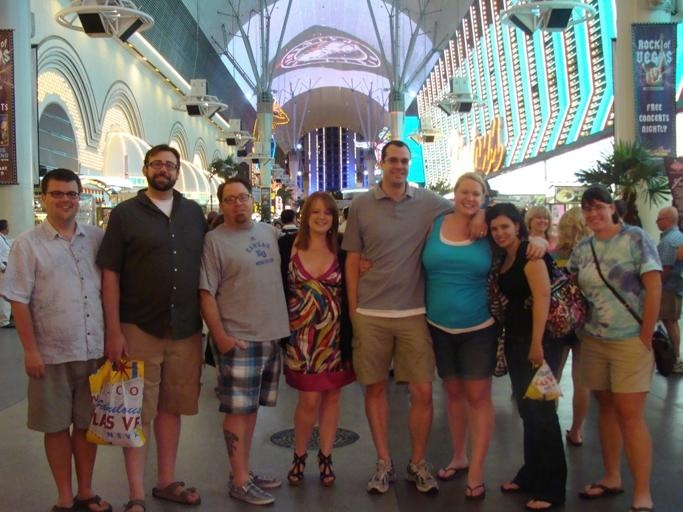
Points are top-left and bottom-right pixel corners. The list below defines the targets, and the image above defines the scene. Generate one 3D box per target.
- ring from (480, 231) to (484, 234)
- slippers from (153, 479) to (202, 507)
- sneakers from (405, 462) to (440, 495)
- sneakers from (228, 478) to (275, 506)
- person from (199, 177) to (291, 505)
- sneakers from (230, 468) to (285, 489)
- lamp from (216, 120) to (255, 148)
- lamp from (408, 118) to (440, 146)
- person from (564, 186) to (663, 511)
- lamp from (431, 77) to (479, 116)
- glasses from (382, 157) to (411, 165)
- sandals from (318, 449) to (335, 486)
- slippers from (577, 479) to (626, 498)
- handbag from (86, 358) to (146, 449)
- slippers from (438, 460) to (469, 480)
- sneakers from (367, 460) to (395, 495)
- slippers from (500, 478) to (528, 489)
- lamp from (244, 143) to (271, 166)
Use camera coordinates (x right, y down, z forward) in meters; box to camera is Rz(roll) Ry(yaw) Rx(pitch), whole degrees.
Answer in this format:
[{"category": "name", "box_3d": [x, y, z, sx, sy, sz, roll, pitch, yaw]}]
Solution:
[{"category": "ring", "box_3d": [1.138, -0.195, 4.512, 0.024, 0.018, 0.007, -12, -3, -14]}, {"category": "slippers", "box_3d": [-1.272, 1.868, 4.424, 0.336, 0.129, 0.169, 0, 4, 23]}, {"category": "sneakers", "box_3d": [0.672, 1.814, 4.612, 0.133, 0.144, 0.314, 1, -1, -26]}, {"category": "sneakers", "box_3d": [-0.703, 1.864, 4.426, 0.353, 0.145, 0.149, 1, 4, 29]}, {"category": "person", "box_3d": [-0.758, 0.641, 4.513, 0.697, 2.558, 0.475, -1, 2, -7]}, {"category": "sneakers", "box_3d": [-0.712, 1.864, 4.726, 0.480, 0.205, 0.168, 0, 3, 10]}, {"category": "lamp", "box_3d": [-6.773, -7.891, 36.234, 2.482, 2.017, 2.507, -1, 10, -9]}, {"category": "lamp", "box_3d": [5.445, -7.518, 33.928, 1.737, 1.355, 0.587, 1, 5, -12]}, {"category": "person", "box_3d": [2.059, 0.664, 4.271, 0.641, 2.413, 0.478, 1, 3, 43]}, {"category": "lamp", "box_3d": [5.623, -7.730, 26.989, 1.909, 1.684, 1.510, -5, 11, -14]}, {"category": "glasses", "box_3d": [0.461, -0.791, 4.670, 0.216, 0.057, 0.099, -1, 2, 5]}, {"category": "sandals", "box_3d": [-0.112, 1.751, 4.736, 0.137, 0.280, 0.266, -1, 2, -2]}, {"category": "slippers", "box_3d": [2.032, 1.815, 4.364, 0.337, 0.097, 0.132, 0, -1, -3]}, {"category": "handbag", "box_3d": [-1.678, 1.098, 4.131, 0.413, 0.649, 0.181, -1, 2, 4]}, {"category": "slippers", "box_3d": [0.950, 1.831, 4.806, 0.212, 0.079, 0.120, -4, 1, -24]}, {"category": "sneakers", "box_3d": [0.326, 1.808, 4.551, 0.130, 0.149, 0.312, -5, -7, 17]}, {"category": "slippers", "box_3d": [1.393, 1.845, 4.488, 0.189, 0.073, 0.077, 2, 41, 8]}, {"category": "lamp", "box_3d": [-4.994, -6.246, 34.059, 1.381, 1.027, 1.427, 0, 3, -3]}]
